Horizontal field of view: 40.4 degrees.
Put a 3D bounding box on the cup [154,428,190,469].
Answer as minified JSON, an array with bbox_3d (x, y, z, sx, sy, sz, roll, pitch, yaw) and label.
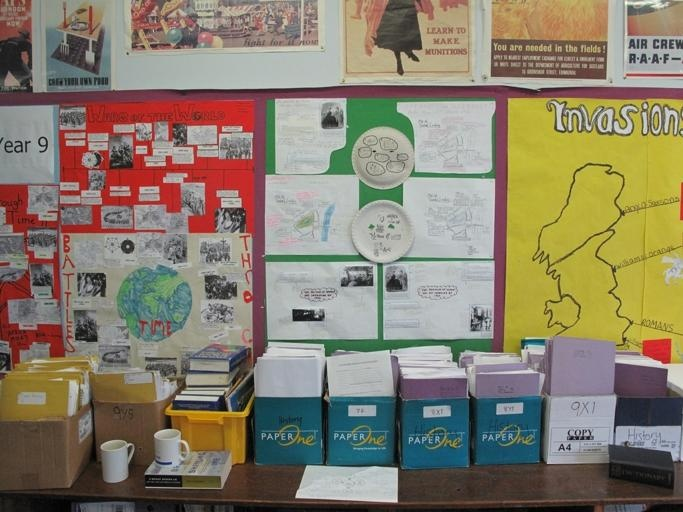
[{"bbox_3d":[-0.769,0.894,4.282,0.183,0.153,0.123,12,17,31],"label":"cup"}]

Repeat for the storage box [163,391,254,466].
[{"bbox_3d":[-0.590,0.838,4.497,0.424,0.228,0.329,0,4,17],"label":"storage box"}]

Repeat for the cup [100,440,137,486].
[{"bbox_3d":[-1.027,0.945,4.311,0.102,0.161,0.169,8,15,39],"label":"cup"}]

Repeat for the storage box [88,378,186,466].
[{"bbox_3d":[-1.002,0.777,4.511,0.354,0.388,0.376,1,0,-1],"label":"storage box"}]
